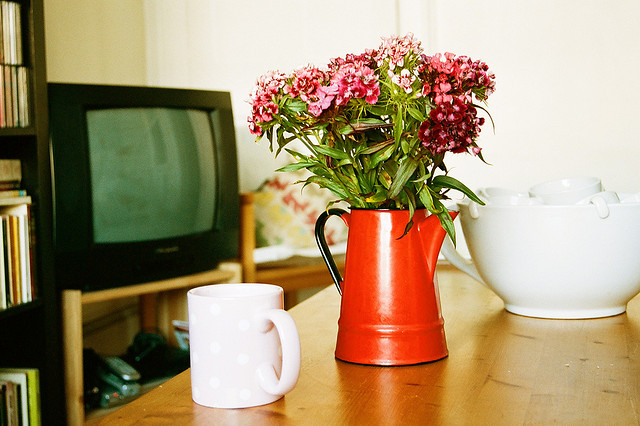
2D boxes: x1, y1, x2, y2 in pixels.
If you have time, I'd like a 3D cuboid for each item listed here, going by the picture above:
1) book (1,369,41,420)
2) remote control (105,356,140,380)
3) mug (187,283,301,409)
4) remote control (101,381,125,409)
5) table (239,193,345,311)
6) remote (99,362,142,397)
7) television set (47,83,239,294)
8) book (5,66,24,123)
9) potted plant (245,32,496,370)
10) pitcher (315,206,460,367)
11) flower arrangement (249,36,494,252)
[{"bbox_3d":[-0.944,0.569,1.671,0.148,0.173,0.018,5,-1,-15],"label":"book"},{"bbox_3d":[-0.706,0.547,1.922,0.114,0.024,0.066,33,14,28],"label":"remote control"},{"bbox_3d":[-0.092,0.190,0.761,0.133,0.155,0.207,-2,-1,-42],"label":"mug"},{"bbox_3d":[-0.735,0.644,1.886,0.065,0.063,0.084,5,-4,13],"label":"remote control"},{"bbox_3d":[-0.117,0.171,2.887,0.528,1.004,0.565,-2,5,0],"label":"table"},{"bbox_3d":[-0.713,0.593,1.924,0.072,0.171,0.046,-45,-15,-6],"label":"remote"},{"bbox_3d":[-0.748,-0.120,2.203,0.786,0.740,0.437,-6,5,-42],"label":"television set"},{"bbox_3d":[-0.964,-0.380,1.676,0.031,0.133,0.125,2,4,-4],"label":"book"},{"bbox_3d":[0.122,-0.007,0.875,0.352,0.521,0.387,-12,17,-33],"label":"potted plant"},{"bbox_3d":[0.102,0.111,0.886,0.231,0.243,0.177,-1,2,7],"label":"pitcher"},{"bbox_3d":[0.050,-0.125,0.861,0.314,0.252,0.284,-19,1,42],"label":"flower arrangement"}]
